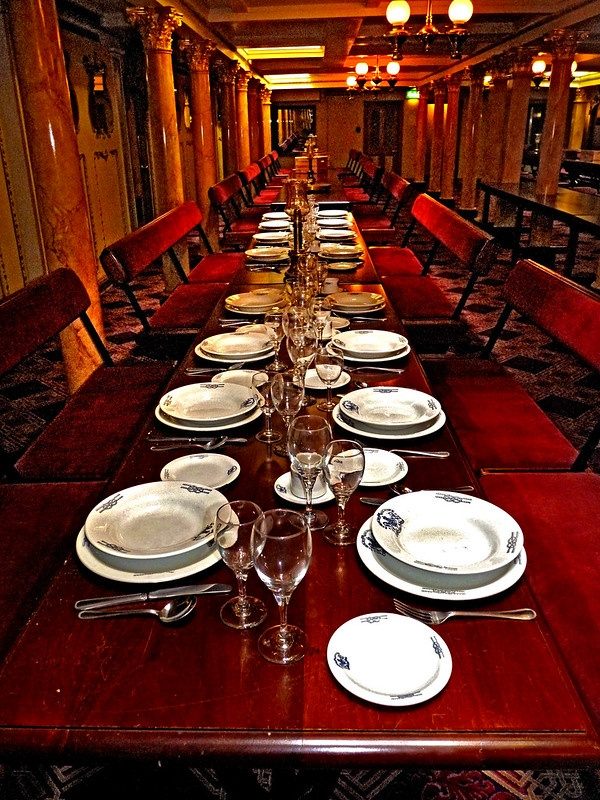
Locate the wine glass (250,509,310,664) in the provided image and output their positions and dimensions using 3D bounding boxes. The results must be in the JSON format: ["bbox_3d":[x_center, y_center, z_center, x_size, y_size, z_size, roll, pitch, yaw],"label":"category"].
[{"bbox_3d":[-0.025,0.240,0.735,0.067,0.177,0.073,8,36,14],"label":"wine glass"}]
